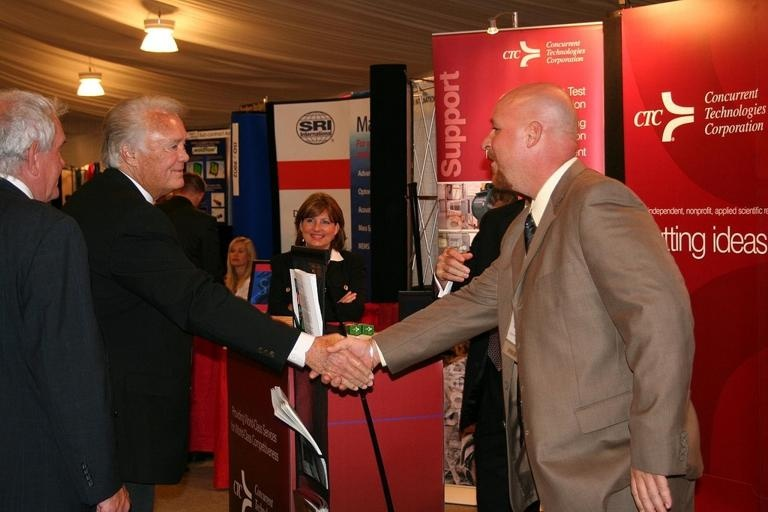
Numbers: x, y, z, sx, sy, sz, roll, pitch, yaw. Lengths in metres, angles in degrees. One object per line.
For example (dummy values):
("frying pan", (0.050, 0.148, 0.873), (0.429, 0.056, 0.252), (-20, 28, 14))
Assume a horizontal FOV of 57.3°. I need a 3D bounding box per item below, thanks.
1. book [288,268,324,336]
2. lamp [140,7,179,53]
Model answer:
("book", (-0.348, 0.210, 3.235), (0.048, 0.354, 0.271), (-14, 13, -23))
("lamp", (-2.103, -2.111, 6.630), (0.358, 0.371, 0.367), (0, 13, -7))
